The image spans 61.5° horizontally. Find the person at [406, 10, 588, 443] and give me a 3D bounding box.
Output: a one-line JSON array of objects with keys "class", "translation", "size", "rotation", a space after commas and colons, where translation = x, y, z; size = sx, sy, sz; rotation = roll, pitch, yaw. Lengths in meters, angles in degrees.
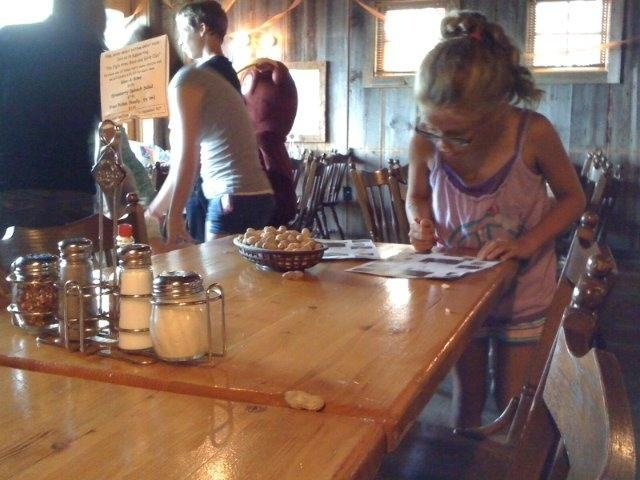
[{"class": "person", "translation": [0.482, -0.074, 1.784], "size": [0.495, 1.569, 0.503], "rotation": [-1, 9, -8]}]

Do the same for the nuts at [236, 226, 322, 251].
[{"class": "nuts", "translation": [-0.096, -0.024, 1.469], "size": [0.193, 0.080, 0.167], "rotation": [6, 6, 38]}]

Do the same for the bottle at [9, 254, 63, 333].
[{"class": "bottle", "translation": [-0.484, 0.093, 0.918], "size": [0.077, 0.124, 0.045], "rotation": [-5, 13, -26]}]

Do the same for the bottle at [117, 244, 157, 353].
[{"class": "bottle", "translation": [-0.289, 0.090, 0.840], "size": [0.058, 0.160, 0.085], "rotation": [-4, 12, -20]}]

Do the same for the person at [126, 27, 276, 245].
[{"class": "person", "translation": [-0.434, -0.400, 2.133], "size": [0.393, 0.808, 0.453], "rotation": [4, 12, 11]}]

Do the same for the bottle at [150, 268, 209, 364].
[{"class": "bottle", "translation": [-0.214, 0.112, 0.852], "size": [0.081, 0.137, 0.093], "rotation": [4, 6, 35]}]
